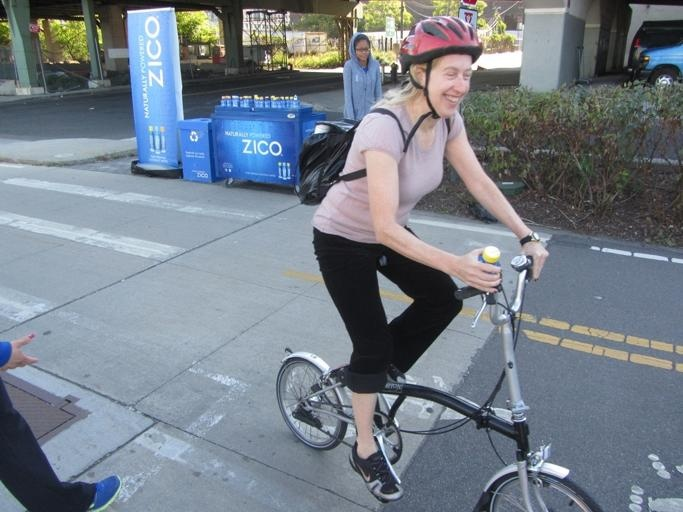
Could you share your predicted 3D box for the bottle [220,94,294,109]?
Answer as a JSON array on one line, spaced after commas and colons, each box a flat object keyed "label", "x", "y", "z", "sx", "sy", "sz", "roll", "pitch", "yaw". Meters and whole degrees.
[{"label": "bottle", "x": -1.357, "y": -2.594, "z": 8.988, "sx": 1.522, "sy": 0.198, "sz": 0.404, "roll": 10, "pitch": 23, "yaw": 26}]

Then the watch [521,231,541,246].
[{"label": "watch", "x": 0.977, "y": -0.090, "z": 2.760, "sx": 0.074, "sy": 0.036, "sz": 0.078, "roll": -32, "pitch": -7, "yaw": 35}]

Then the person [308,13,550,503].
[{"label": "person", "x": 0.405, "y": 0.150, "z": 2.886, "sx": 0.963, "sy": 2.675, "sz": 0.877, "roll": -8, "pitch": 22, "yaw": -18}]

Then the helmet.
[{"label": "helmet", "x": 0.480, "y": -1.029, "z": 2.586, "sx": 0.398, "sy": 0.248, "sz": 0.240, "roll": 3, "pitch": 21, "yaw": 11}]

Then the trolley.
[{"label": "trolley", "x": -1.328, "y": -1.977, "z": 9.377, "sx": 1.631, "sy": 1.186, "sz": 0.890, "roll": 7, "pitch": 22, "yaw": 14}]

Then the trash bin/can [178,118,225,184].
[{"label": "trash bin/can", "x": -2.481, "y": -1.903, "z": 9.562, "sx": 0.933, "sy": 1.273, "sz": 0.770, "roll": 11, "pitch": 18, "yaw": 37}]
